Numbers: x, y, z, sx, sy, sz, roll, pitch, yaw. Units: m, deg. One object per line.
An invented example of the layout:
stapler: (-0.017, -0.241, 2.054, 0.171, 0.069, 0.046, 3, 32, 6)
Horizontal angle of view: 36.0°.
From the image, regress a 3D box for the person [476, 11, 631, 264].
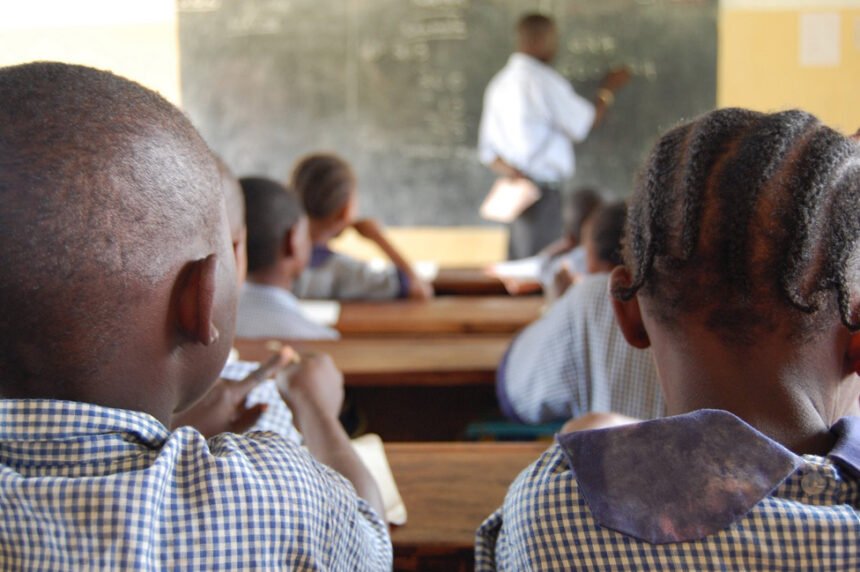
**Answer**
person: (0.588, -0.466, 6.352, 0.759, 1.610, 0.740, 2, 18, 4)
